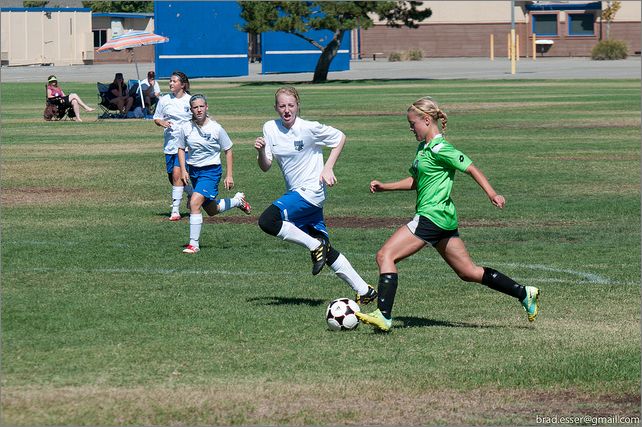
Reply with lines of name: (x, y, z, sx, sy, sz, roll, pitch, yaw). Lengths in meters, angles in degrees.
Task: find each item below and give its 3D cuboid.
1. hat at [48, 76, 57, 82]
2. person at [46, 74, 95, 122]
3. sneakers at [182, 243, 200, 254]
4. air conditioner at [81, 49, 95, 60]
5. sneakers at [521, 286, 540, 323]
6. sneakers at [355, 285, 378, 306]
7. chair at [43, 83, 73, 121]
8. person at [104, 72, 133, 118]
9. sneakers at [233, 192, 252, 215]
hat: (-8.847, -4.447, 34.834, 0.406, 0.176, 0.529, -9, 10, -19)
person: (-8.275, -3.783, 34.893, 1.714, 1.393, 0.660, 4, 10, 8)
sneakers: (-2.113, 0.547, 17.146, 0.266, 0.131, 0.280, 1, 8, 9)
air conditioner: (-18.998, -12.985, 86.174, 1.000, 0.838, 0.894, -1, 7, -13)
sneakers: (2.784, 1.163, 14.020, 0.276, 0.466, 0.190, -8, 23, 1)
sneakers: (0.643, 1.097, 14.419, 0.402, 0.134, 0.184, -30, -45, 22)
chair: (-8.619, -3.676, 34.919, 0.706, 1.111, 1.442, 3, 8, 21)
person: (-6.785, -3.952, 35.624, 0.773, 1.322, 0.679, -8, 11, -43)
sneakers: (-1.381, -0.180, 18.546, 0.191, 0.226, 0.508, -8, -39, 31)
